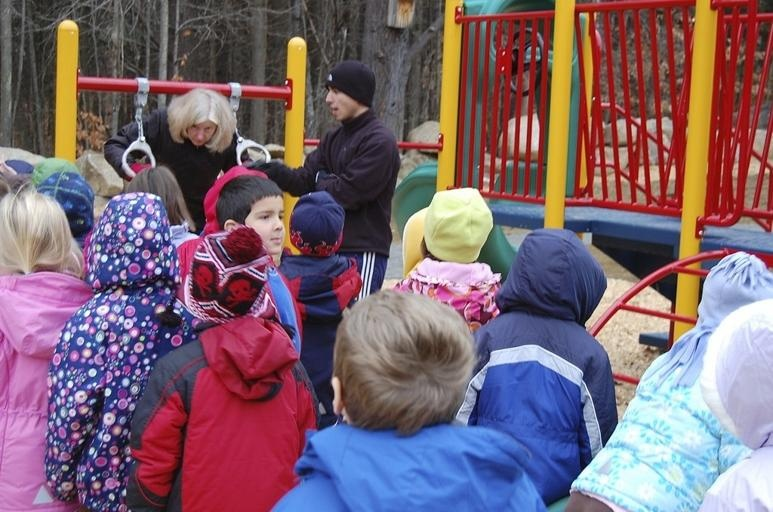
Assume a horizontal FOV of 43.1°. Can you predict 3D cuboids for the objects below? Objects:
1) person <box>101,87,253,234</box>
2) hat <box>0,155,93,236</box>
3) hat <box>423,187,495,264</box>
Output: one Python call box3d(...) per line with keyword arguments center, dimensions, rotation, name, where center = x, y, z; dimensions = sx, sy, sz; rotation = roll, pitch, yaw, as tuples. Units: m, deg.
box3d(center=(-1.416, -0.642, 6.549), dimensions=(0.799, 0.949, 0.588), rotation=(2, 4, -3), name="person")
box3d(center=(-1.890, -0.333, 5.549), dimensions=(0.377, 0.437, 1.147), rotation=(1, 5, -22), name="hat")
box3d(center=(0.382, -0.151, 5.214), dimensions=(0.246, 0.273, 0.448), rotation=(-1, 40, -6), name="hat")
